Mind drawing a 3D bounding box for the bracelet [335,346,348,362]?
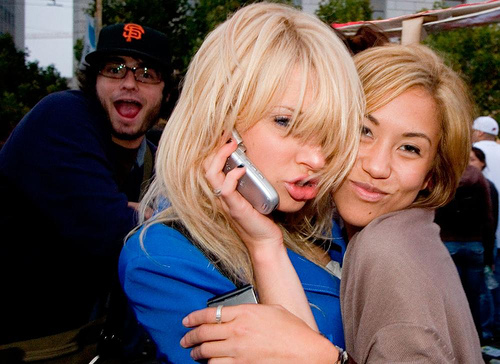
[{"bbox_3d":[0.453,0.852,2.353,0.035,0.050,0.050,-3,2,-34],"label":"bracelet"}]

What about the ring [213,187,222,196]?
[{"bbox_3d":[-0.188,0.059,2.640,0.036,0.037,0.012,5,7,36],"label":"ring"}]

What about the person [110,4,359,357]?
[{"bbox_3d":[0.006,-0.034,2.578,1.370,1.875,0.740,-3,12,-17],"label":"person"}]
